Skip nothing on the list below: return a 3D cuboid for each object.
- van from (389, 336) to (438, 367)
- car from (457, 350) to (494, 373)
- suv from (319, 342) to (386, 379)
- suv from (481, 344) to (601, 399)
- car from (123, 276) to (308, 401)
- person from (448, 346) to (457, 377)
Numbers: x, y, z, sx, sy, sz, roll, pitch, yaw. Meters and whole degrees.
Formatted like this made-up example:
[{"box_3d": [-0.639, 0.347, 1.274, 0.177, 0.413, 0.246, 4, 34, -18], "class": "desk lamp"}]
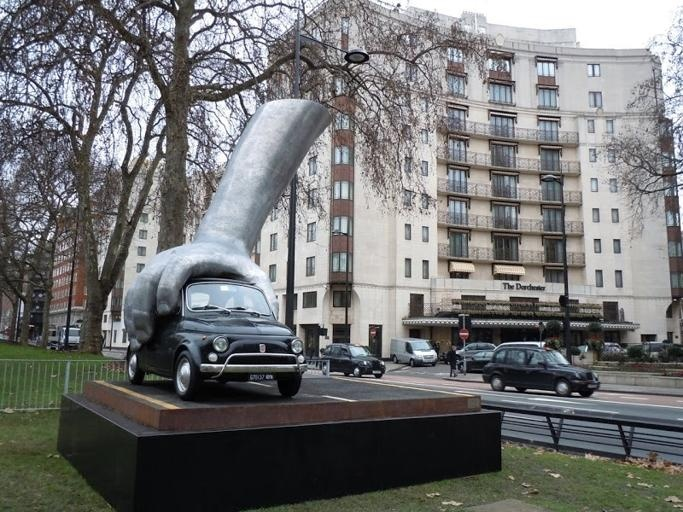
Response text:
[{"box_3d": [5.408, 7.447, 45.175, 1.652, 2.112, 4.131, 5, -8, -27], "class": "van"}, {"box_3d": [8.017, 6.340, 35.192, 2.287, 1.321, 1.425, 2, -7, 14], "class": "car"}, {"box_3d": [0.535, 6.013, 33.773, 1.796, 1.592, 3.658, 8, -11, -37], "class": "suv"}, {"box_3d": [8.466, 5.078, 25.506, 2.095, 2.095, 4.466, 12, -15, -43], "class": "suv"}, {"box_3d": [-2.334, 1.492, 10.944, 3.248, 2.220, 1.742, -3, -8, 35], "class": "car"}, {"box_3d": [6.435, 6.261, 34.353, 0.414, 1.559, 1.405, 1, -7, 7], "class": "person"}]
